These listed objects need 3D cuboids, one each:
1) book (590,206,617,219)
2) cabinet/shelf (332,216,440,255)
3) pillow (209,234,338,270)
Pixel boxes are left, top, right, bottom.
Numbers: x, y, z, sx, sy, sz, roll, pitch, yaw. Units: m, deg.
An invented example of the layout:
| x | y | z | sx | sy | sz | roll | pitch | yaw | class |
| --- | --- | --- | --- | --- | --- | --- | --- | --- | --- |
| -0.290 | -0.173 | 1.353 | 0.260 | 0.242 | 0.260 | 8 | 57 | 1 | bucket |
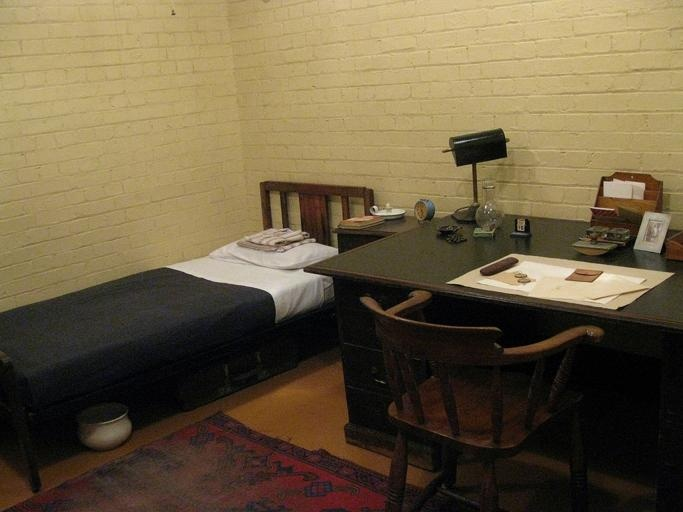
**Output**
| x | y | z | sx | sy | sz | roll | pitch | yaw | class |
| --- | --- | --- | --- | --- | --- | --- | --- | --- | --- |
| 1.333 | -0.226 | 2.686 | 0.121 | 0.022 | 0.074 | 8 | 19 | 30 | book |
| 0.246 | -0.166 | 3.556 | 0.338 | 0.304 | 0.540 | 17 | 29 | 36 | cabinet/shelf |
| -0.545 | -0.009 | 3.962 | 0.606 | 0.067 | 0.355 | 9 | 16 | 32 | pillow |
